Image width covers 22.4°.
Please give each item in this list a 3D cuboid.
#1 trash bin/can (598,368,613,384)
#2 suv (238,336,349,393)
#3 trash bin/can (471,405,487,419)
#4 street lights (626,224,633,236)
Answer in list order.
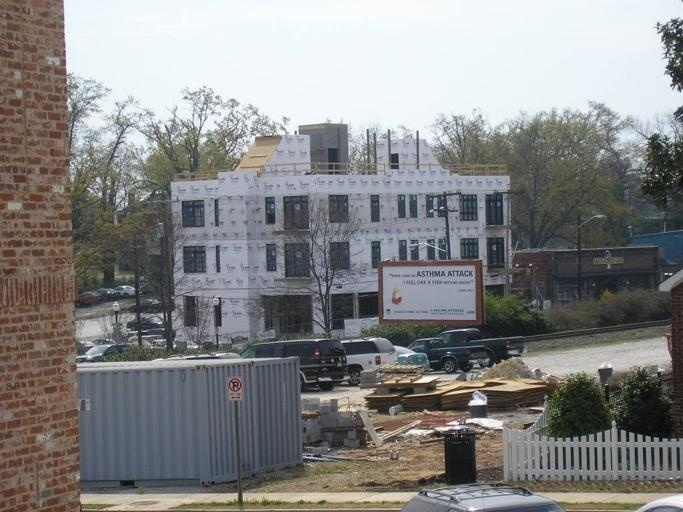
[{"bbox_3d":[11.201,5.102,73.019,0.570,0.665,0.598,0,-7,-1],"label":"trash bin/can"},{"bbox_3d":[-2.110,5.215,80.006,4.079,1.850,2.421,1,0,20],"label":"suv"},{"bbox_3d":[5.473,6.297,68.912,0.497,0.507,0.510,-1,1,6],"label":"trash bin/can"},{"bbox_3d":[25.061,-2.195,149.716,0.393,0.905,1.112,-4,-3,21],"label":"street lights"}]
